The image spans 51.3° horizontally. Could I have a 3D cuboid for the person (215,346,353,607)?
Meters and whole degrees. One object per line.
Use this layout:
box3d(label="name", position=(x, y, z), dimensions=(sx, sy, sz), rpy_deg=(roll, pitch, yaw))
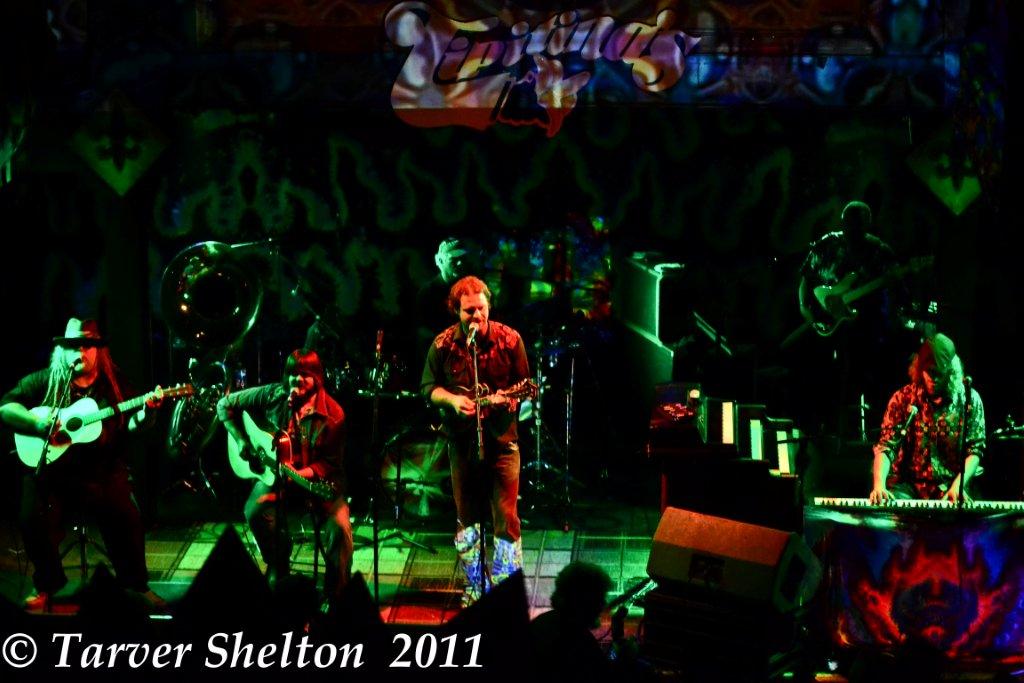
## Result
box3d(label="person", position=(-1.728, 0.870, 8.116), dimensions=(0.948, 2.032, 0.747), rpy_deg=(-4, 10, -29))

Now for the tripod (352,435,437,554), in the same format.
box3d(label="tripod", position=(-0.963, 1.280, 9.407), dimensions=(0.599, 1.026, 0.669), rpy_deg=(2, 7, -21))

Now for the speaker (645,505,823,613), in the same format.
box3d(label="speaker", position=(1.464, 1.446, 7.227), dimensions=(0.982, 0.649, 0.779), rpy_deg=(1, 4, 20))

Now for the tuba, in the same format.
box3d(label="tuba", position=(-2.819, -0.119, 9.948), dimensions=(0.589, 2.239, 0.668), rpy_deg=(-4, 9, -26))

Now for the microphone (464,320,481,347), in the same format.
box3d(label="microphone", position=(-0.283, -0.027, 7.736), dimensions=(0.096, 0.209, 0.145), rpy_deg=(0, 50, -4))

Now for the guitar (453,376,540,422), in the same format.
box3d(label="guitar", position=(-0.115, 0.415, 7.703), dimensions=(0.635, 0.264, 0.079), rpy_deg=(-11, -1, 20))

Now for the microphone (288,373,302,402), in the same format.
box3d(label="microphone", position=(-1.572, 0.342, 7.960), dimensions=(0.104, 0.185, 0.181), rpy_deg=(1, 11, 7))

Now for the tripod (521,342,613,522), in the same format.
box3d(label="tripod", position=(0.462, 0.818, 9.938), dimensions=(0.510, 1.696, 0.680), rpy_deg=(2, 9, 2))

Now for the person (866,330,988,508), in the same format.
box3d(label="person", position=(3.172, 0.646, 8.046), dimensions=(0.908, 1.536, 1.285), rpy_deg=(2, 2, 23))

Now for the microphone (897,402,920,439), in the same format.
box3d(label="microphone", position=(2.999, 0.600, 8.034), dimensions=(0.090, 0.094, 0.318), rpy_deg=(20, 73, 30))
